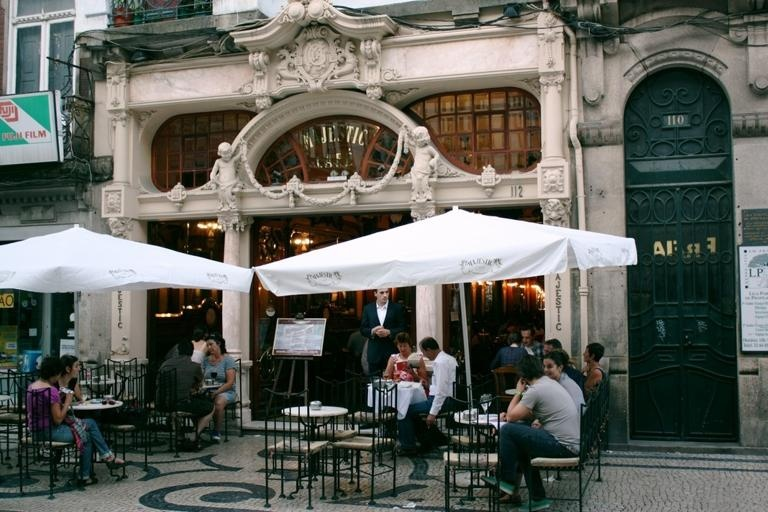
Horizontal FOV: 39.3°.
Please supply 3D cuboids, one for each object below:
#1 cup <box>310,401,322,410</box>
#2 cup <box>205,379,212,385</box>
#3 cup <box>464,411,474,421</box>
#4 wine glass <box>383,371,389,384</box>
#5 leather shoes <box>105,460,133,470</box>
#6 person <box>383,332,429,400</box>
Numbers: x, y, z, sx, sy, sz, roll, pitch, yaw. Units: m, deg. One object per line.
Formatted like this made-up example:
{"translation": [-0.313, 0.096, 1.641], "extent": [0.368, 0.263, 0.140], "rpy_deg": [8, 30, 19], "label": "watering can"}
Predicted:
{"translation": [-1.166, 2.603, 18.686], "extent": [0.147, 0.088, 0.148], "rpy_deg": [1, -2, 0], "label": "cup"}
{"translation": [-3.527, 2.543, 21.620], "extent": [0.216, 0.115, 0.142], "rpy_deg": [5, -8, -14], "label": "cup"}
{"translation": [1.478, 2.715, 18.338], "extent": [0.166, 0.147, 0.387], "rpy_deg": [-1, -7, -1], "label": "cup"}
{"translation": [0.048, 2.279, 20.032], "extent": [0.134, 0.181, 0.066], "rpy_deg": [0, -3, 4], "label": "wine glass"}
{"translation": [-4.776, 3.712, 19.194], "extent": [0.348, 0.134, 0.186], "rpy_deg": [-1, 1, 3], "label": "leather shoes"}
{"translation": [0.439, 2.228, 20.352], "extent": [0.773, 1.389, 0.889], "rpy_deg": [6, -8, -35], "label": "person"}
